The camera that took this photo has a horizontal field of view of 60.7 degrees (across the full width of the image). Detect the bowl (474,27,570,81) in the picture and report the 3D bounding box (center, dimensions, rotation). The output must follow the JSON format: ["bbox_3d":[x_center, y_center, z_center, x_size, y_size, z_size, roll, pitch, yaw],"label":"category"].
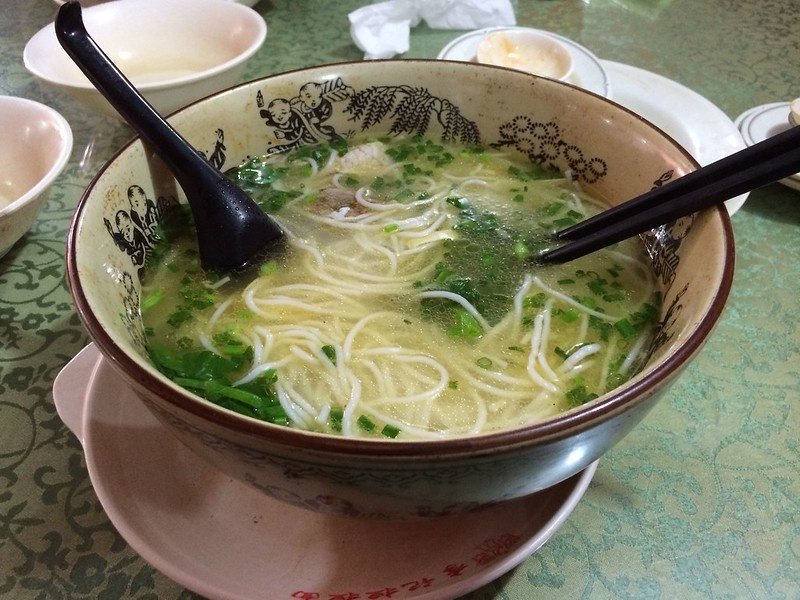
[{"bbox_3d":[0.471,-0.971,2.703,0.292,0.268,0.068,6,-72,-7],"label":"bowl"}]
